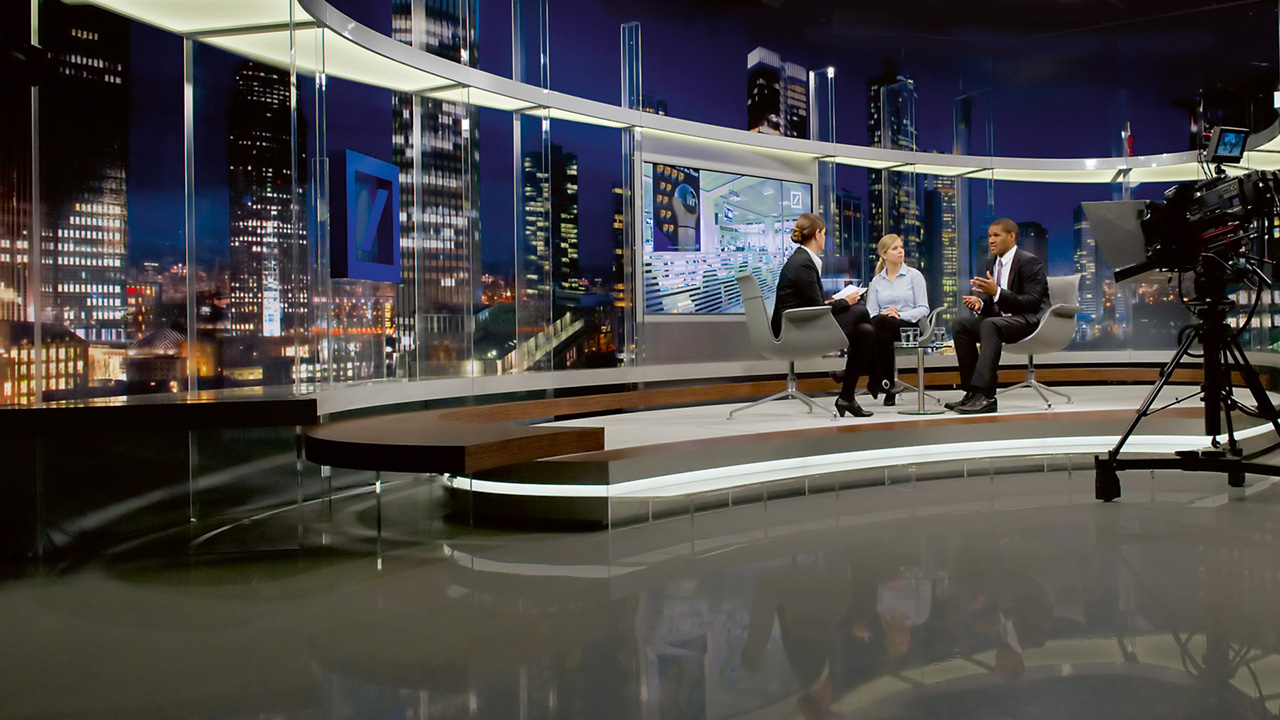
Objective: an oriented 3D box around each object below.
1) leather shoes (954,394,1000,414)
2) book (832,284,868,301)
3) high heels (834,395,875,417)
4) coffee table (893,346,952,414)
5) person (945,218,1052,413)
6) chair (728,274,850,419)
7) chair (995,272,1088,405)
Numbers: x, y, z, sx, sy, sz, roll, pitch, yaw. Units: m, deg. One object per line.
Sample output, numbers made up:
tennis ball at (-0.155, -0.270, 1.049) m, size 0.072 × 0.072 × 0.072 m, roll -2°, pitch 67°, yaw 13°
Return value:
leather shoes at (2.766, 0.361, 7.423) m, size 0.438 × 0.169 × 0.145 m, roll 2°, pitch 0°, yaw 14°
book at (1.918, -0.629, 8.318) m, size 0.276 × 0.099 × 0.298 m, roll -2°, pitch 10°, yaw 30°
high heels at (1.772, 0.387, 7.474) m, size 0.316 × 0.138 × 0.147 m, roll -2°, pitch 1°, yaw 5°
coffee table at (2.356, 0.145, 7.635) m, size 0.505 × 0.655 × 0.506 m, roll 0°, pitch -1°, yaw -43°
person at (3.067, -0.425, 7.736) m, size 0.727 × 1.587 × 1.352 m, roll -1°, pitch 8°, yaw 30°
chair at (1.200, -0.128, 7.699) m, size 0.911 × 1.230 × 0.807 m, roll -6°, pitch 7°, yaw -9°
chair at (3.535, -0.214, 8.219) m, size 0.943 × 1.179 × 0.909 m, roll 4°, pitch -5°, yaw -34°
